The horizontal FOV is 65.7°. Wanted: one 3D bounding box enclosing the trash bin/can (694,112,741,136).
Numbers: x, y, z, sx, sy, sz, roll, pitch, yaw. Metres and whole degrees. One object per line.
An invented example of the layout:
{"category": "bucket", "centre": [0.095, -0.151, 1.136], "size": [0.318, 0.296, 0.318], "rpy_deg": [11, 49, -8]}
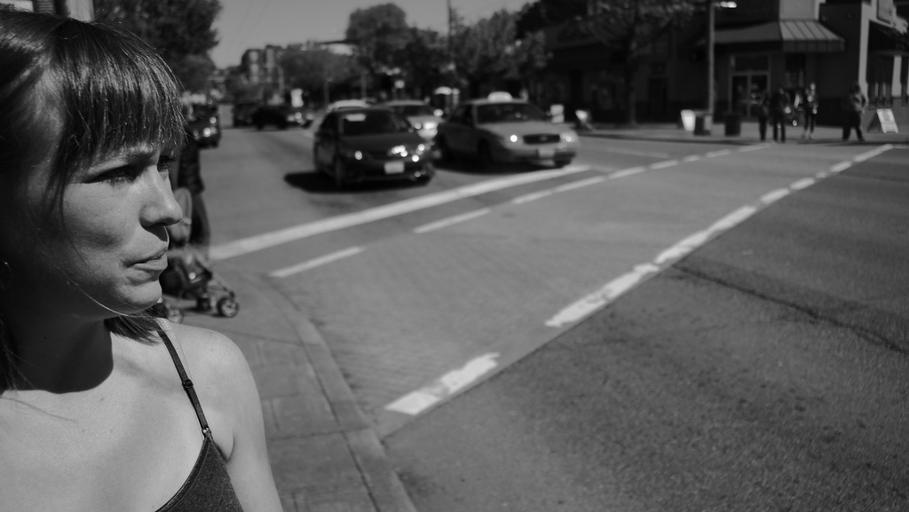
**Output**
{"category": "trash bin/can", "centre": [9.412, -4.690, 25.207], "size": [1.241, 0.755, 1.107], "rpy_deg": [1, 13, 22]}

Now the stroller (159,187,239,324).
{"category": "stroller", "centre": [-2.736, -0.018, 7.301], "size": [0.693, 1.354, 0.809], "rpy_deg": [3, 8, 37]}

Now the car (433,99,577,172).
{"category": "car", "centre": [0.970, -3.115, 17.746], "size": [1.488, 1.239, 3.653], "rpy_deg": [-4, 12, -17]}
